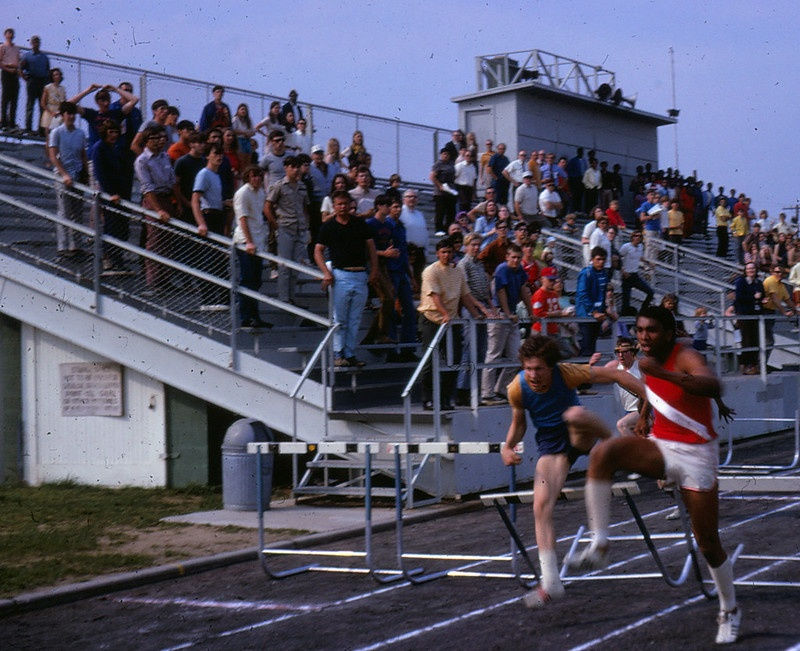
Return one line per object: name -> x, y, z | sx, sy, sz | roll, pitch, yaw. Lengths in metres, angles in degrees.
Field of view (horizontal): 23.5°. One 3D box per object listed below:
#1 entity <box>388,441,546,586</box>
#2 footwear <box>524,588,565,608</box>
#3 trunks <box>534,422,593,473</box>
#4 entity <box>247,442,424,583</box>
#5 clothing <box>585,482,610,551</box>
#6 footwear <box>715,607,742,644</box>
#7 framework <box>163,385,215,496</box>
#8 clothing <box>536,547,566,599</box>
entity -> 0.714, 2.244, 22.508 | 1.612, 1.389, 0.741 | -1, -9, 10
footwear -> 1.479, 2.863, 19.981 | 0.418, 0.098, 0.223 | -4, 14, 8
trunks -> 1.741, 1.270, 20.645 | 0.729, 0.529, 0.417 | -1, -36, -4
entity -> -0.709, 2.211, 22.025 | 2.234, 1.970, 1.538 | 0, 0, 19
clothing -> 1.993, 1.919, 19.563 | 0.256, 0.678, 0.400 | 1, -4, 5
footwear -> 3.326, 3.055, 19.579 | 0.231, 0.375, 0.306 | 1, -4, 13
framework -> -2.914, 1.531, 26.197 | 0.637, 1.345, 0.159 | 1, -4, 16
clothing -> 1.563, 2.590, 20.004 | 0.254, 0.495, 0.226 | 1, -4, 4
